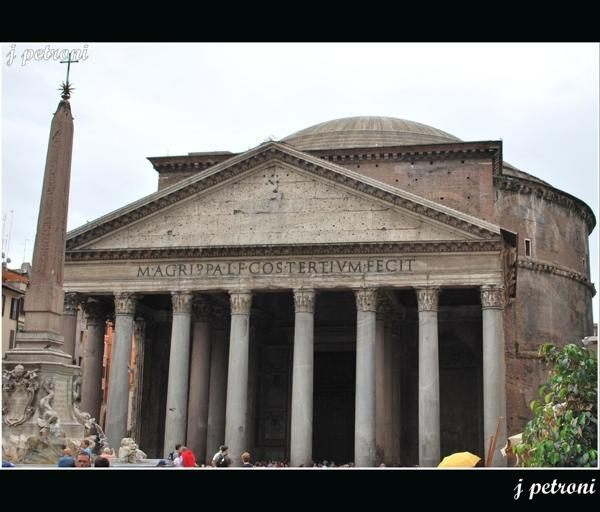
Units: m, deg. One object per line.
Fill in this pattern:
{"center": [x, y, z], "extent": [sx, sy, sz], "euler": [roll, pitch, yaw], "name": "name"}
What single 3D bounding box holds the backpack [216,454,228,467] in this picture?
{"center": [-1.725, 4.473, 17.614], "extent": [0.292, 0.308, 0.138], "euler": [-1, -32, 2], "name": "backpack"}
